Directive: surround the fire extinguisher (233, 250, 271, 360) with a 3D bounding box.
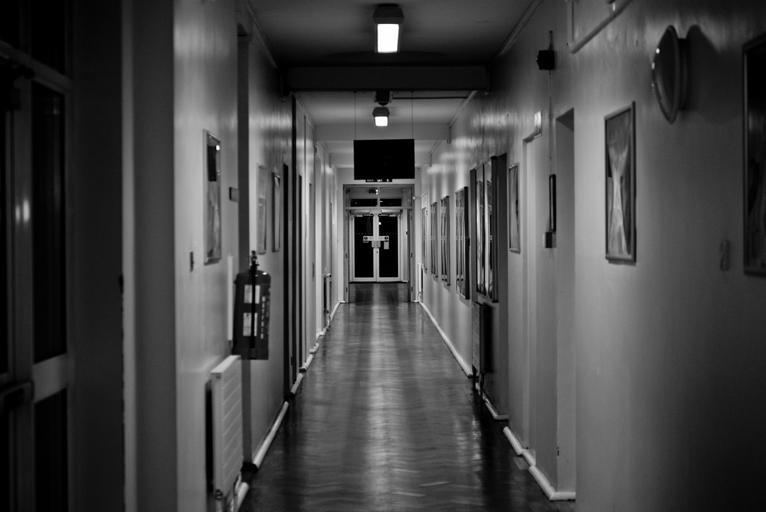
[{"bbox_3d":[-1.073,0.412,4.840,0.299,0.870,0.271,-1,2,-16],"label":"fire extinguisher"}]
